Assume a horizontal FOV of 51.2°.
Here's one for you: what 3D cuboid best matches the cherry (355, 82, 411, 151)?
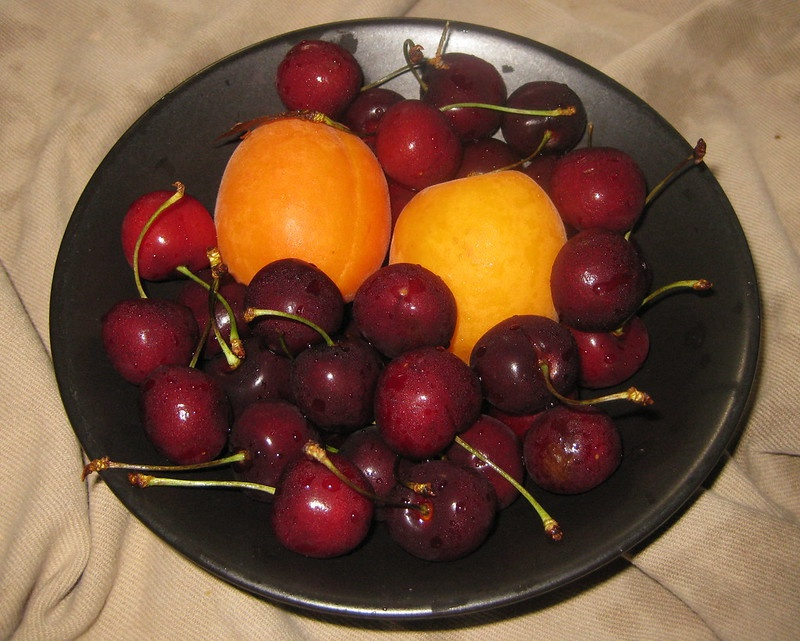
[{"bbox_3d":[-0.044,-0.481,1.996,0.120,0.130,0.154,2,86,-1],"label":"cherry"}]

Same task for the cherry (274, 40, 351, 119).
[{"bbox_3d":[-0.193,-0.564,1.902,0.156,0.169,0.203,15,106,38],"label":"cherry"}]

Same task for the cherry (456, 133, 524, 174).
[{"bbox_3d":[0.197,-0.370,1.884,0.109,0.099,0.095,-8,106,-29],"label":"cherry"}]

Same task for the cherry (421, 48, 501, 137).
[{"bbox_3d":[0.141,-0.504,1.971,0.184,0.188,0.186,29,95,-9],"label":"cherry"}]

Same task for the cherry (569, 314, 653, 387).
[{"bbox_3d":[0.437,0.074,1.731,0.137,0.143,0.147,16,111,3],"label":"cherry"}]

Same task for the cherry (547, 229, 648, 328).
[{"bbox_3d":[0.403,-0.085,1.750,0.177,0.182,0.203,16,116,21],"label":"cherry"}]
